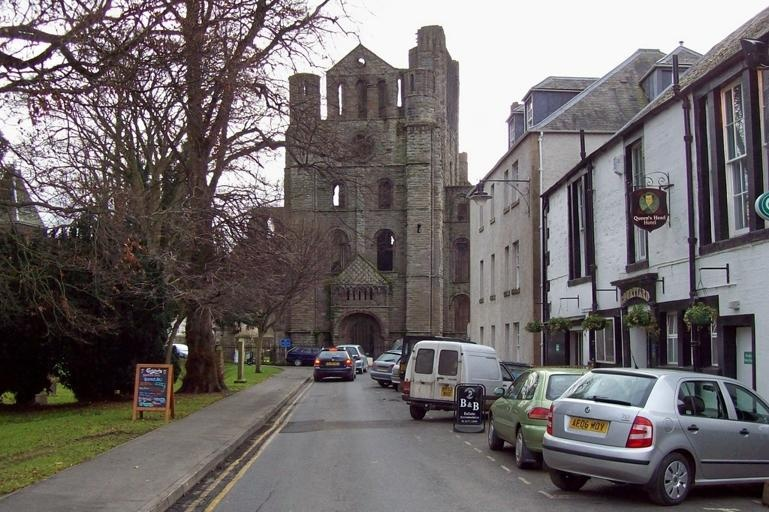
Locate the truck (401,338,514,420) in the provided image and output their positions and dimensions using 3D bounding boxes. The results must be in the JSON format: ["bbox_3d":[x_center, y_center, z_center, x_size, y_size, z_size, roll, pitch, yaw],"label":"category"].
[{"bbox_3d":[1.986,3.700,22.472,1.806,1.711,3.031,-2,-4,31],"label":"truck"}]

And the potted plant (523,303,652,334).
[{"bbox_3d":[7.105,2.102,23.839,2.966,0.974,0.865,-3,-5,38],"label":"potted plant"}]

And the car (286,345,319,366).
[{"bbox_3d":[-7.153,8.857,63.738,3.793,1.347,1.756,-1,-5,2],"label":"car"}]

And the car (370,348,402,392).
[{"bbox_3d":[0.083,5.830,37.402,1.332,2.157,4.331,1,-12,-3],"label":"car"}]

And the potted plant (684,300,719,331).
[{"bbox_3d":[8.258,1.494,18.914,0.751,0.697,0.938,-3,-12,13],"label":"potted plant"}]

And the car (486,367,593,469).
[{"bbox_3d":[3.284,3.444,16.226,1.259,1.177,2.736,1,-4,-5],"label":"car"}]

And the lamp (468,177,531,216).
[{"bbox_3d":[5.280,-2.661,32.731,2.703,1.653,0.970,-1,-1,5],"label":"lamp"}]
